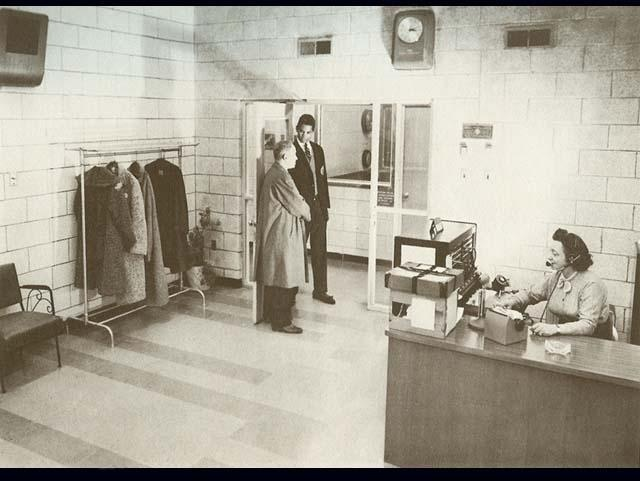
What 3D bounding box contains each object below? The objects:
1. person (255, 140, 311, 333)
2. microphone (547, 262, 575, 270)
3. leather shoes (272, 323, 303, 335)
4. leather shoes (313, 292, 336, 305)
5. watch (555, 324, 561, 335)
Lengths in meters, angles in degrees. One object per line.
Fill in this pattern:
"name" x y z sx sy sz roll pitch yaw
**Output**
"person" -0.417 -0.026 5.651 0.556 2.036 0.410 3 12 7
"microphone" 1.790 0.181 3.980 0.134 0.051 0.113 1 7 4
"leather shoes" -0.360 0.960 5.798 0.260 0.106 0.128 -2 4 9
"leather shoes" 0.059 0.720 6.662 0.301 0.119 0.114 8 16 31
"watch" 1.538 0.570 3.434 0.014 0.047 0.035 5 7 -4
